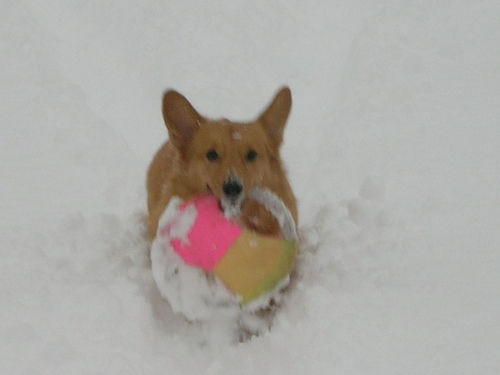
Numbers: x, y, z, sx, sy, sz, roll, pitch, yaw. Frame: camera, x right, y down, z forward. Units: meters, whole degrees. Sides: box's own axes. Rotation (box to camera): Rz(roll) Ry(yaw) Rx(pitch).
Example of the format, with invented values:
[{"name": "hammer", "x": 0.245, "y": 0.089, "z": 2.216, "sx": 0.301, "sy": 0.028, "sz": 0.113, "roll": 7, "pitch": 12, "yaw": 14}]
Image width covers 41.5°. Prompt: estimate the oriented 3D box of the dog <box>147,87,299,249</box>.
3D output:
[{"name": "dog", "x": -0.306, "y": -0.112, "z": 5.795, "sx": 1.075, "sy": 1.998, "sz": 1.624, "roll": 2, "pitch": 105, "yaw": -12}]
